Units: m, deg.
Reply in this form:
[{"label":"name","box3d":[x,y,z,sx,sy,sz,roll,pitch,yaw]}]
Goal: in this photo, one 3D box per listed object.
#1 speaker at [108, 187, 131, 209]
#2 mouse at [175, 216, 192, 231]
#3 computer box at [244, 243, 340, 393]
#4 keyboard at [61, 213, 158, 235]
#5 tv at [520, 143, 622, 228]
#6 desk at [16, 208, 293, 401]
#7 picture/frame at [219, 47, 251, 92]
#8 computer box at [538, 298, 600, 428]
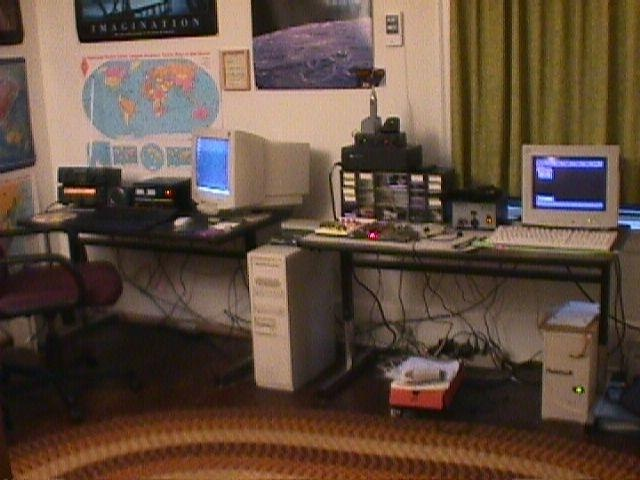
[{"label":"speaker","box3d":[-1.362,-0.290,4.316,0.111,0.126,0.071,4,16,8]},{"label":"mouse","box3d":[-0.837,-0.101,3.882,0.113,0.112,0.066,17,10,42]},{"label":"computer box","box3d":[-0.152,0.458,3.981,0.345,0.829,0.509,-2,2,39]},{"label":"keyboard","box3d":[-1.270,-0.111,3.958,0.376,0.045,0.177,3,29,19]},{"label":"tv","box3d":[1.338,-0.284,3.385,0.487,0.433,0.059,4,15,20]},{"label":"desk","box3d":[-1.052,0.424,4.115,0.797,0.796,1.570,12,16,37]},{"label":"picture/frame","box3d":[-0.566,-1.168,4.303,0.237,0.320,0.040,4,12,22]},{"label":"computer box","box3d":[1.328,0.650,3.438,0.261,0.634,0.318,5,14,20]}]
